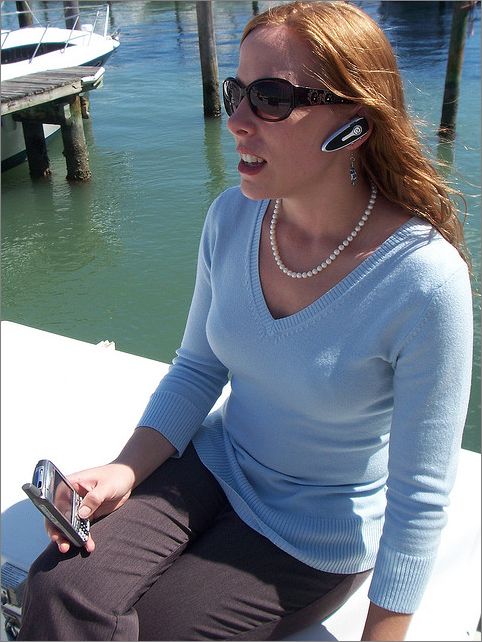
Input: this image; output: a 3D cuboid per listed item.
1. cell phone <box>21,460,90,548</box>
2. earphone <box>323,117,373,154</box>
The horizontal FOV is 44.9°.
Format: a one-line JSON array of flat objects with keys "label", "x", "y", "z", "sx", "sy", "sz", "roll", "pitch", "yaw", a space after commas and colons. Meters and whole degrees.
[{"label": "cell phone", "x": -0.394, "y": 0.395, "z": 1.254, "sx": 0.106, "sy": 0.199, "sz": 0.164, "roll": -13, "pitch": 30, "yaw": -18}, {"label": "earphone", "x": 0.232, "y": -0.404, "z": 1.256, "sx": 0.124, "sy": 0.062, "sz": 0.025, "roll": -19, "pitch": 33, "yaw": -31}]
